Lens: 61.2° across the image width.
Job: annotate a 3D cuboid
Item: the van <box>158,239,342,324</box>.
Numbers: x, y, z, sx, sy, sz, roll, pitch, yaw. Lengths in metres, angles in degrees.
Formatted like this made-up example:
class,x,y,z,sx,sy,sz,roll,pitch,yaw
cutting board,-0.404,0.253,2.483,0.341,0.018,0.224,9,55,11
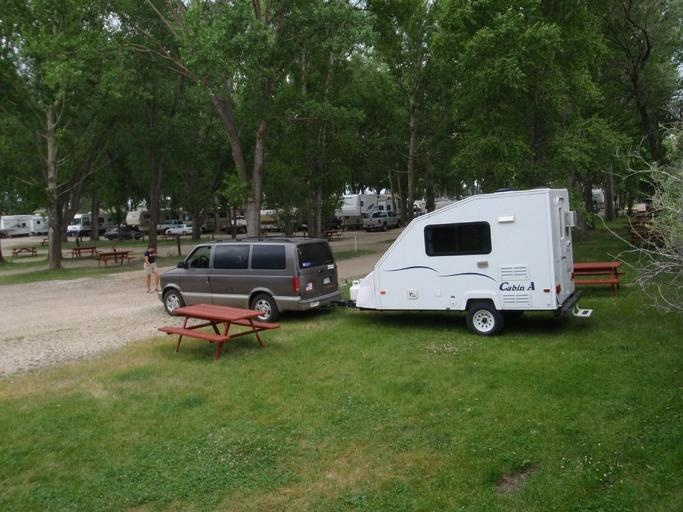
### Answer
class,x,y,z,sx,sy,sz,roll,pitch,yaw
van,-2.530,0.552,16.565,4.153,1.995,2.301,2,3,25

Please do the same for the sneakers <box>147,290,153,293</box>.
class,x,y,z,sx,sy,sz,roll,pitch,yaw
sneakers,-7.436,1.354,22.227,0.115,0.161,0.347,-3,-1,-35

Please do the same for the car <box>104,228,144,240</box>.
class,x,y,z,sx,sy,sz,roll,pitch,yaw
car,-23.031,-2.174,59.875,3.622,1.390,1.889,-3,4,-8
